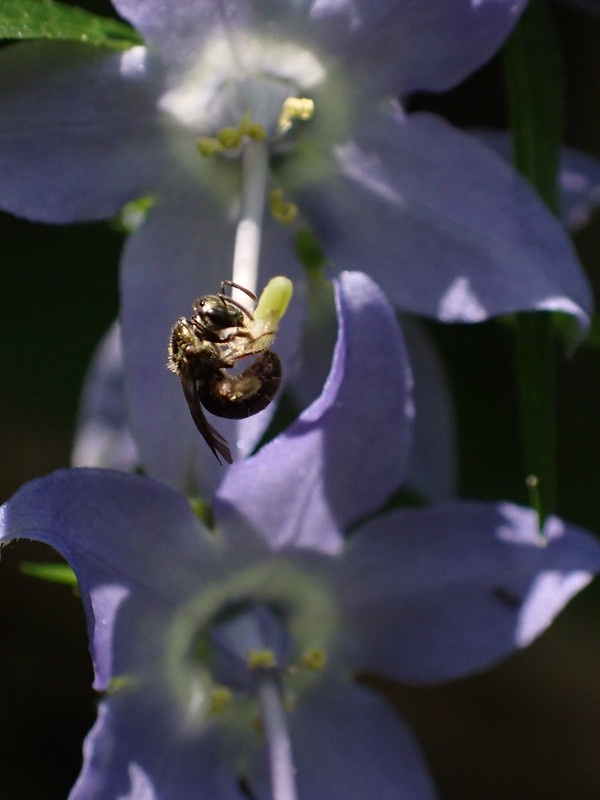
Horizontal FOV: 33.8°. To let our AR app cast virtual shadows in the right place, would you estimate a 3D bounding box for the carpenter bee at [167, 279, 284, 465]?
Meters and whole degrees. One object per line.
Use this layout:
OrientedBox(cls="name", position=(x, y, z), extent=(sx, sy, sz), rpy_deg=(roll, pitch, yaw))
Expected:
OrientedBox(cls="carpenter bee", position=(-0.038, -0.007, 0.449), extent=(0.058, 0.074, 0.042), rpy_deg=(10, 37, 8))
